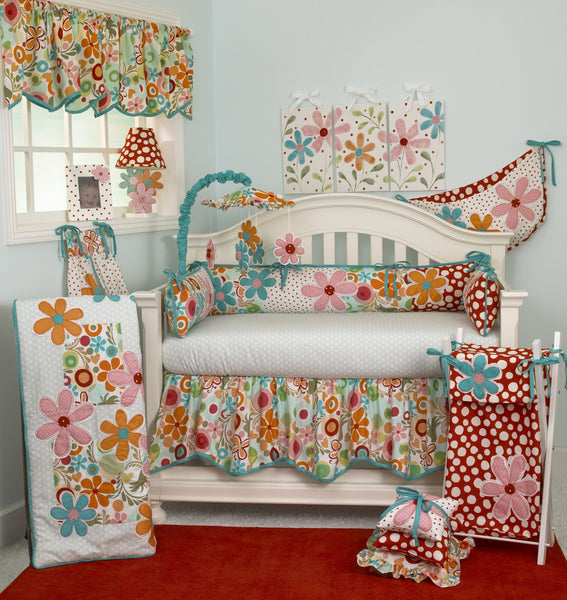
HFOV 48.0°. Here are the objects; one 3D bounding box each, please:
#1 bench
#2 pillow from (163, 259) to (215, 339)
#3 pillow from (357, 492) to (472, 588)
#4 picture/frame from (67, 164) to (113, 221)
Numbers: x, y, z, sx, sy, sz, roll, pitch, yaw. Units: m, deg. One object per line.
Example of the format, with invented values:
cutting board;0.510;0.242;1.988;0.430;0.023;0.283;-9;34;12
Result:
bench;0.148;0.084;2.527;1.417;1.054;1.156;-3;4;-13
pillow;-0.358;0.011;2.436;0.082;0.161;0.277;-11;18;15
pillow;0.387;0.720;1.864;0.249;0.112;0.272;5;18;27
picture/frame;-0.760;-0.415;2.474;0.216;0.246;0.024;-6;10;-38
